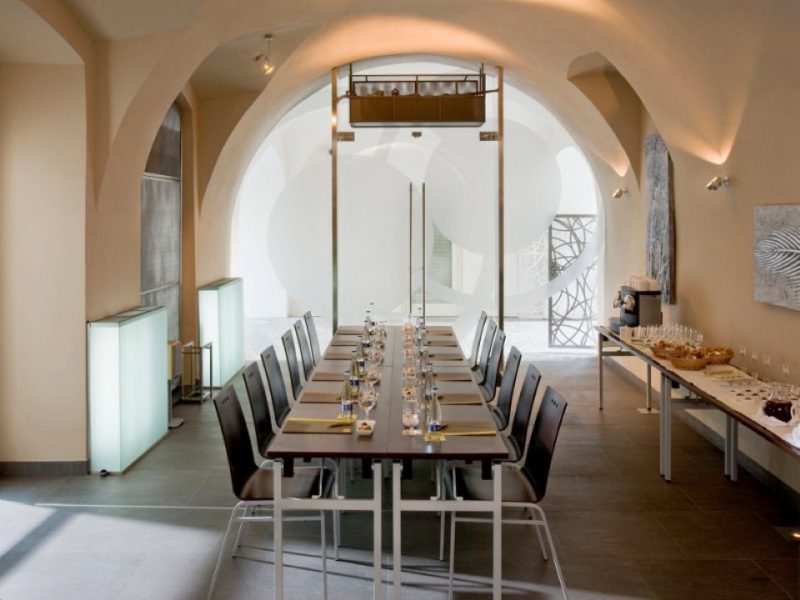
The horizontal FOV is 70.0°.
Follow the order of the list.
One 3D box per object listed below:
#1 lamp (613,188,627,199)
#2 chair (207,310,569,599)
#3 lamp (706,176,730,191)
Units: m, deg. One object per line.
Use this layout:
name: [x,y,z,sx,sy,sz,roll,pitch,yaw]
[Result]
lamp: [3.097,-1.500,8.017,0.131,0.144,0.096,2,1,-13]
chair: [-0.060,0.992,3.431,1.234,0.744,1.822,0,1,3]
lamp: [2.991,-1.096,5.395,0.139,0.136,0.407,2,9,11]
